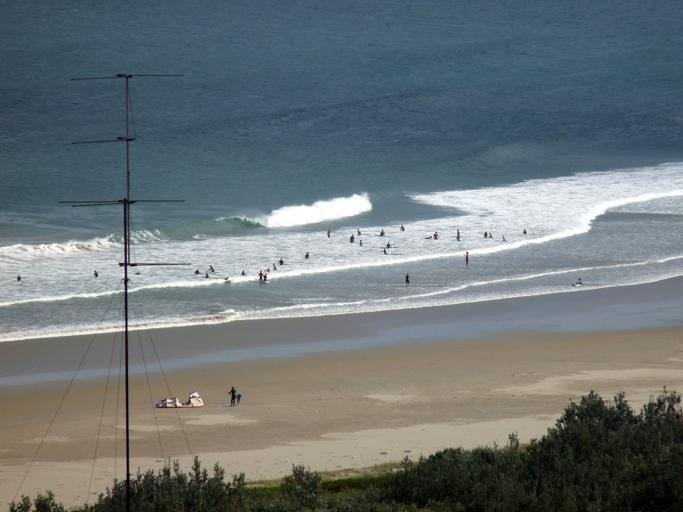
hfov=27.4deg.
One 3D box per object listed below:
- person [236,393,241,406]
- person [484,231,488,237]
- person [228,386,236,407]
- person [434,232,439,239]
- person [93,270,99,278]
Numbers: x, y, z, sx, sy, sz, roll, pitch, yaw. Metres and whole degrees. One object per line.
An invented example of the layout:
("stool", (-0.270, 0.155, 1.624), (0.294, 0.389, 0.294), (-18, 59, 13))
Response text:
("person", (-8.795, 12.294, 119.479), (0.432, 1.138, 0.754), (-8, -16, 4))
("person", (15.133, -2.347, 149.007), (0.617, 0.535, 1.551), (-2, 3, 4))
("person", (-9.288, 11.997, 119.607), (0.641, 1.926, 1.377), (-5, -16, -6))
("person", (9.904, -2.178, 148.961), (0.705, 0.948, 0.636), (1, 2, 4))
("person", (-24.281, 1.780, 138.882), (0.550, 1.059, 1.446), (-4, -15, -10))
